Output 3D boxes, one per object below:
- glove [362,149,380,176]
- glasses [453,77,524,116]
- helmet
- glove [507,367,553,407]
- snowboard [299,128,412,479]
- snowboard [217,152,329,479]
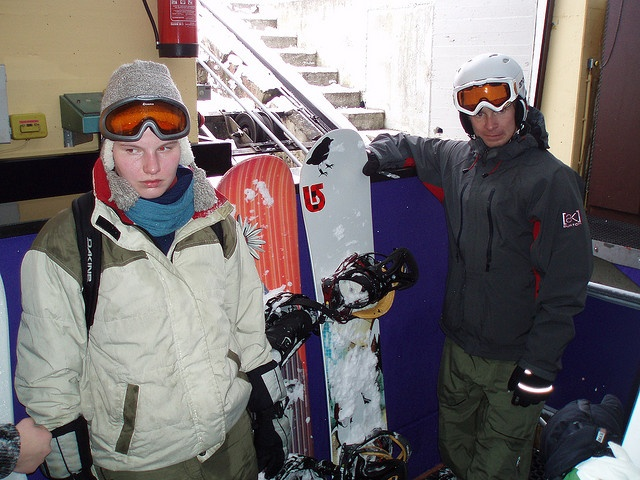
[{"bbox_3d":[0.254,-0.386,2.595,0.070,0.131,0.093,4,8,9],"label":"glove"},{"bbox_3d":[0.724,-0.622,2.248,0.295,0.149,0.154,0,15,20],"label":"glasses"},{"bbox_3d":[0.751,-0.624,2.357,0.255,0.345,0.332,-6,50,28],"label":"helmet"},{"bbox_3d":[0.874,0.614,2.263,0.146,0.161,0.178,-16,-9,-39],"label":"glove"},{"bbox_3d":[0.122,0.236,2.538,0.310,2.086,0.213,-9,11,-32],"label":"snowboard"},{"bbox_3d":[-0.217,0.289,2.568,0.353,1.682,0.253,-10,10,-29],"label":"snowboard"}]
